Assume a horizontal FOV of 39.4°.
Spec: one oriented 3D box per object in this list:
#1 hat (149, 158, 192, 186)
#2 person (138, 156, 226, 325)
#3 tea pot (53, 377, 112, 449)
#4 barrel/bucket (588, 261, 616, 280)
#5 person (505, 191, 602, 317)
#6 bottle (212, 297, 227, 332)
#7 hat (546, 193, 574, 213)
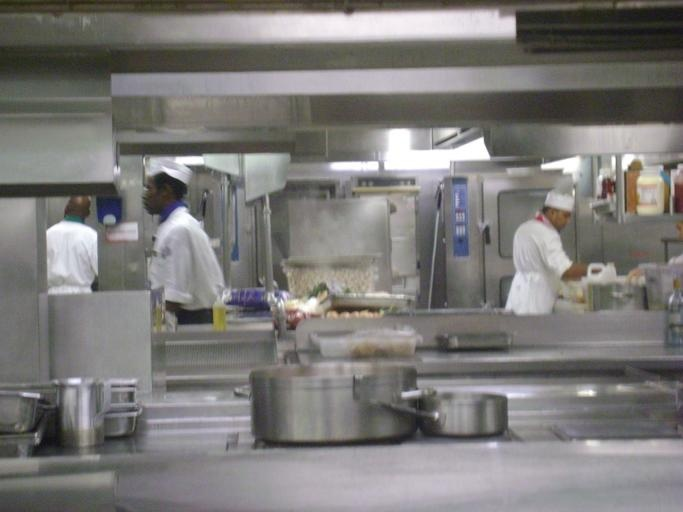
[{"bbox_3d":[-0.796,-0.399,4.401,0.136,0.084,0.114,21,-2,3],"label":"hat"},{"bbox_3d":[-0.749,-0.060,4.481,0.325,0.774,0.461,-2,-1,15],"label":"person"},{"bbox_3d":[-0.659,0.399,2.412,0.156,0.180,0.110,0,-2,2],"label":"tea pot"},{"bbox_3d":[1.458,0.088,5.380,0.147,0.096,0.235,-2,-1,24],"label":"barrel/bucket"},{"bbox_3d":[1.229,0.139,5.800,0.380,1.032,0.468,-3,18,-13],"label":"person"},{"bbox_3d":[-0.527,0.248,4.075,0.046,0.122,0.132,-1,-1,-11],"label":"bottle"},{"bbox_3d":[1.290,-0.347,5.712,0.128,0.088,0.133,10,6,-20],"label":"hat"}]
